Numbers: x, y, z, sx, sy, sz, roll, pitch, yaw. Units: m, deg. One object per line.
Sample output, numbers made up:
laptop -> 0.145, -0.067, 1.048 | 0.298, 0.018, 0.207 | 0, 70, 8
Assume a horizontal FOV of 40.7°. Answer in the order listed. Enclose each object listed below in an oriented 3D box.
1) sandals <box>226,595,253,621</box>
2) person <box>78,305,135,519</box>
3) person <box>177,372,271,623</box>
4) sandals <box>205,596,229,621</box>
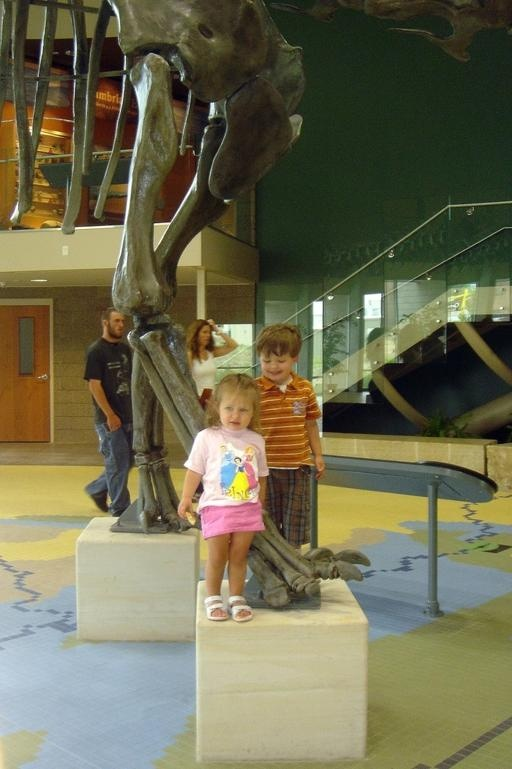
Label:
sandals -> -0.043, 0.626, 1.936 | 0.064, 0.042, 0.148 | 0, 0, -5
person -> -1.105, 0.241, 5.218 | 0.347, 1.627, 0.971 | 0, 0, -11
person -> -0.089, 0.310, 2.008 | 0.262, 0.675, 0.285 | 0, 0, -6
sandals -> -0.109, 0.627, 1.932 | 0.066, 0.041, 0.104 | 0, 0, -3
